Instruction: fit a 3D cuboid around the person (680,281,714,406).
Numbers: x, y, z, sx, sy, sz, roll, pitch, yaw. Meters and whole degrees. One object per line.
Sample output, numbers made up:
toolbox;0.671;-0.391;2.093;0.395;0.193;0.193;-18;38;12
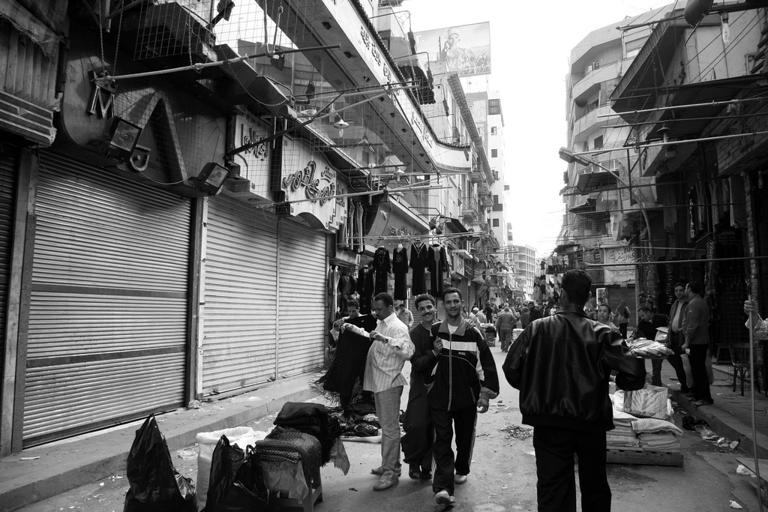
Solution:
person;6.343;1.739;13.004;0.583;2.398;0.783;2;3;27

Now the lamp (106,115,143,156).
lamp;-4.334;-2.053;11.103;0.584;0.604;0.345;20;4;16

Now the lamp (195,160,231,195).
lamp;-3.403;-1.563;12.879;0.549;0.633;0.503;1;3;-6

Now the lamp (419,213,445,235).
lamp;2.771;-1.635;33.407;0.682;0.974;2.335;0;-1;28

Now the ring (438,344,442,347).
ring;0.830;1.292;9.344;0.043;0.040;0.036;5;-4;-13

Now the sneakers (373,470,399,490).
sneakers;0.030;3.304;9.466;0.169;0.147;0.356;-10;-13;35
